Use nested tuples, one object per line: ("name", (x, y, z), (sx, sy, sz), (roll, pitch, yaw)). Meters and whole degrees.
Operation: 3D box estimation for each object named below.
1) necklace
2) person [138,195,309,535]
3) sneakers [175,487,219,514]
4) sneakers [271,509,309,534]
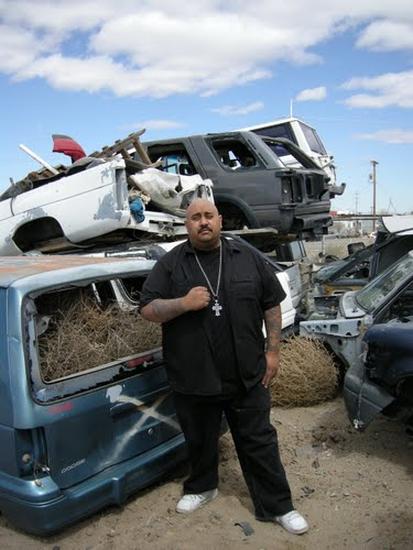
("necklace", (0.028, 0.023, 2.224), (0.163, 0.391, 0.177), (-2, -1, -8))
("person", (0.040, 0.488, 2.296), (0.808, 1.808, 0.567), (-1, -1, -24))
("sneakers", (-0.070, 1.349, 2.499), (0.272, 0.102, 0.089), (0, 8, -35))
("sneakers", (0.457, 1.342, 2.247), (0.075, 0.068, 0.187), (-4, -11, -38))
